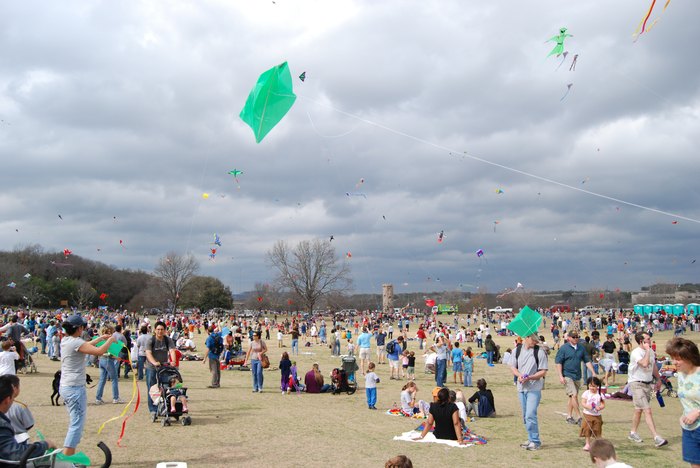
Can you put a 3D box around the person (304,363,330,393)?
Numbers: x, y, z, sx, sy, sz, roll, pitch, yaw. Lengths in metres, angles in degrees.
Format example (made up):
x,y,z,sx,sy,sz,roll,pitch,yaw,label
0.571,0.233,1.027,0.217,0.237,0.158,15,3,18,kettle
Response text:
x,y,z,sx,sy,sz,roll,pitch,yaw,label
-1.309,5.380,21.691,1.018,1.088,0.766,2,6,14,person

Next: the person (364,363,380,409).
x,y,z,sx,sy,sz,roll,pitch,yaw,label
0.718,5.003,19.138,0.361,1.430,0.730,0,-10,3,person

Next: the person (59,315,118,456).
x,y,z,sx,sy,sz,roll,pitch,yaw,label
-6.004,3.359,12.952,0.956,3.042,1.157,5,-11,-27,person

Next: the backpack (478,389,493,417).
x,y,z,sx,sy,sz,roll,pitch,yaw,label
4.178,5.286,17.958,0.550,0.696,0.342,-3,-14,-25,backpack

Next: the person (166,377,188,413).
x,y,z,sx,sy,sz,roll,pitch,yaw,label
-4.803,4.363,16.032,0.534,0.668,1.406,3,10,-31,person

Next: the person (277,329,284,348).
x,y,z,sx,sy,sz,roll,pitch,yaw,label
-4.582,6.825,37.945,0.269,1.141,1.645,2,-10,-11,person

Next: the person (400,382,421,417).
x,y,z,sx,sy,sz,roll,pitch,yaw,label
1.979,5.358,18.347,0.700,1.264,0.593,11,-21,-14,person

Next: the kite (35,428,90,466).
x,y,z,sx,sy,sz,roll,pitch,yaw,label
-5.861,4.542,12.070,1.017,0.767,0.352,1,-4,-12,kite

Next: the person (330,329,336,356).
x,y,z,sx,sy,sz,roll,pitch,yaw,label
-0.928,6.098,32.714,0.240,1.418,0.614,1,-10,-5,person

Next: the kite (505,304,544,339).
x,y,z,sx,sy,sz,roll,pitch,yaw,label
4.664,2.350,15.334,0.843,0.844,0.460,45,-20,1,kite

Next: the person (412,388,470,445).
x,y,z,sx,sy,sz,roll,pitch,yaw,label
2.521,4.906,16.012,0.984,1.040,1.551,2,0,7,person

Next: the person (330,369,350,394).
x,y,z,sx,sy,sz,roll,pitch,yaw,label
-0.395,5.468,21.467,0.643,1.020,0.822,2,-13,-18,person

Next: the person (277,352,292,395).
x,y,z,sx,sy,sz,roll,pitch,yaw,label
-2.323,4.996,20.887,0.356,1.475,1.155,1,-10,-6,person

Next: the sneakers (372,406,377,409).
x,y,z,sx,sy,sz,roll,pitch,yaw,label
0.780,5.684,18.931,0.140,0.063,0.336,0,-10,1,sneakers

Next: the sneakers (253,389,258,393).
x,y,z,sx,sy,sz,roll,pitch,yaw,label
-3.428,5.653,20.952,0.188,0.088,0.159,4,-11,-19,sneakers

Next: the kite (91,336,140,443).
x,y,z,sx,sy,sz,roll,pitch,yaw,label
-6.071,4.446,15.354,0.867,3.521,0.072,11,32,-22,kite

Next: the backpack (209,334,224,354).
x,y,z,sx,sy,sz,roll,pitch,yaw,label
-4.840,3.968,20.779,0.464,0.750,0.445,3,-10,-14,backpack

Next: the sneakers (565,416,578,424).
x,y,z,sx,sy,sz,roll,pitch,yaw,label
6.439,5.426,16.865,0.138,0.189,0.385,2,-4,-44,sneakers

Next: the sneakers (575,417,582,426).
x,y,z,sx,sy,sz,roll,pitch,yaw,label
6.634,5.421,16.723,0.143,0.181,0.409,0,-17,6,sneakers

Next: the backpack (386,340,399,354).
x,y,z,sx,sy,sz,roll,pitch,yaw,label
1.694,4.765,24.591,0.507,0.557,0.375,16,-13,-22,backpack

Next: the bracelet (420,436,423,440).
x,y,z,sx,sy,sz,roll,pitch,yaw,label
1.897,5.445,15.463,0.112,0.047,0.131,1,-3,16,bracelet

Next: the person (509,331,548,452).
x,y,z,sx,sy,sz,roll,pitch,yaw,label
4.680,4.096,15.117,0.878,2.963,0.585,-2,-10,17,person

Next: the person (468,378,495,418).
x,y,z,sx,sy,sz,roll,pitch,yaw,label
4.101,5.179,18.349,0.716,1.144,0.966,4,-6,-21,person

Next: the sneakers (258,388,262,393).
x,y,z,sx,sy,sz,roll,pitch,yaw,label
-3.249,5.685,21.050,0.135,0.193,0.105,1,-2,22,sneakers

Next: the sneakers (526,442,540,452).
x,y,z,sx,sy,sz,roll,pitch,yaw,label
4.696,5.478,14.910,0.336,0.170,0.147,8,-12,-18,sneakers

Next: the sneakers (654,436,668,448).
x,y,z,sx,sy,sz,roll,pitch,yaw,label
8.061,5.476,15.220,0.157,0.214,0.453,-13,-20,-22,sneakers

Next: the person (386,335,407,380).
x,y,z,sx,sy,sz,roll,pitch,yaw,label
1.940,5.275,24.677,0.821,1.781,0.578,3,-6,-2,person

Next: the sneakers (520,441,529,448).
x,y,z,sx,sy,sz,roll,pitch,yaw,label
4.558,5.498,15.126,0.102,0.134,0.295,7,-7,-3,sneakers

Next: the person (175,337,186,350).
x,y,z,sx,sy,sz,roll,pitch,yaw,label
-8.798,5.716,30.178,0.440,0.567,1.389,3,-11,-15,person

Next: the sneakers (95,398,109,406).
x,y,z,sx,sy,sz,roll,pitch,yaw,label
-7.564,5.130,17.681,0.125,0.172,0.363,5,-6,29,sneakers

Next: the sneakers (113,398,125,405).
x,y,z,sx,sy,sz,roll,pitch,yaw,label
-7.140,5.114,17.839,0.145,0.178,0.377,5,6,43,sneakers

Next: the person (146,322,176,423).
x,y,z,sx,sy,sz,roll,pitch,yaw,label
-5.345,3.797,16.045,0.676,2.730,0.816,3,-10,-14,person

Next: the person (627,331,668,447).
x,y,z,sx,sy,sz,roll,pitch,yaw,label
7.871,4.119,15.540,0.856,2.949,1.118,-4,-10,26,person

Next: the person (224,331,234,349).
x,y,z,sx,sy,sz,roll,pitch,yaw,label
-5.636,4.966,27.010,0.450,0.662,0.994,3,-10,-12,person

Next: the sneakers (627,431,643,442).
x,y,z,sx,sy,sz,roll,pitch,yaw,label
7.634,5.456,15.580,0.155,0.198,0.400,0,-3,-30,sneakers

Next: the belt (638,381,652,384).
x,y,z,sx,sy,sz,roll,pitch,yaw,label
7.747,3.886,15.167,0.360,0.090,0.076,3,-10,-11,belt
